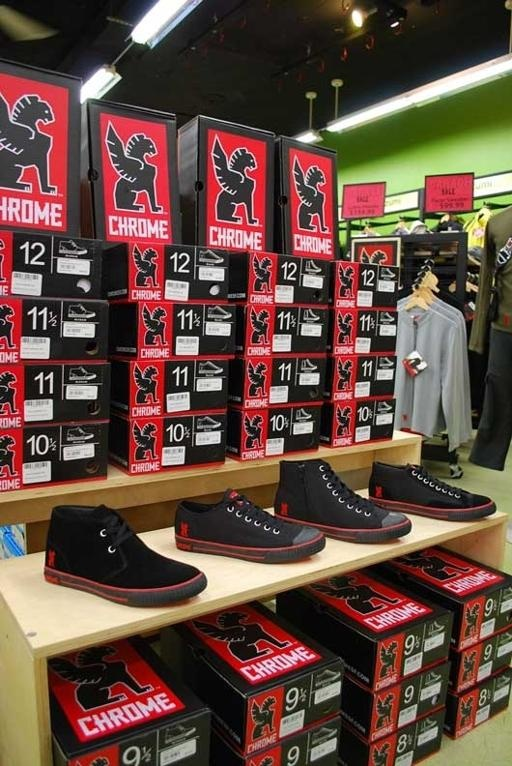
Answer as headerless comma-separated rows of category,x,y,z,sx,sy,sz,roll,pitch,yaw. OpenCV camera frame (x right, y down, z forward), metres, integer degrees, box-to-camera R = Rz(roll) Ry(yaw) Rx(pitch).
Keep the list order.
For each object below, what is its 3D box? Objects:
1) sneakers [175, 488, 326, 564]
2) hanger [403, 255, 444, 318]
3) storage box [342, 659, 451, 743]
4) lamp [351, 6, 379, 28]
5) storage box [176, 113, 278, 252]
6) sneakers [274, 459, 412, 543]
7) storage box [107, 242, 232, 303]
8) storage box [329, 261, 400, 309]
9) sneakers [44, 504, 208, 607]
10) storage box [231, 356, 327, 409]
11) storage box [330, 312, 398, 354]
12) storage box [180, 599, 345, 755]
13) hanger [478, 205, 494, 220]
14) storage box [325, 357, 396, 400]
sneakers,-0.029,0.304,1.177,0.347,0.142,0.129,5,7,12
hanger,1.042,-0.600,3.347,0.140,0.203,0.471,4,18,13
storage box,0.324,0.731,1.226,0.200,0.093,0.148,-7,13,-31
lamp,0.856,-2.851,4.247,0.140,0.120,0.130,-18,8,-42
storage box,-0.073,-0.576,1.576,0.304,0.386,0.238,-3,6,-7
sneakers,0.176,0.244,1.348,0.389,0.197,0.141,7,13,21
storage box,-0.207,-0.233,1.271,0.280,0.159,0.138,0,4,-33
storage box,0.313,-0.329,1.694,0.274,0.150,0.133,-5,17,-33
sneakers,-0.257,0.282,0.984,0.321,0.140,0.122,7,6,19
storage box,0.080,-0.013,1.537,0.334,0.149,0.088,-7,8,-36
storage box,0.314,-0.158,1.695,0.243,0.134,0.120,-2,7,-34
storage box,0.029,0.505,1.041,0.179,0.077,0.333,-1,8,-26
hanger,2.185,-1.617,5.110,0.107,0.165,0.233,0,7,23
storage box,0.314,-0.035,1.692,0.233,0.131,0.114,-7,11,-36
